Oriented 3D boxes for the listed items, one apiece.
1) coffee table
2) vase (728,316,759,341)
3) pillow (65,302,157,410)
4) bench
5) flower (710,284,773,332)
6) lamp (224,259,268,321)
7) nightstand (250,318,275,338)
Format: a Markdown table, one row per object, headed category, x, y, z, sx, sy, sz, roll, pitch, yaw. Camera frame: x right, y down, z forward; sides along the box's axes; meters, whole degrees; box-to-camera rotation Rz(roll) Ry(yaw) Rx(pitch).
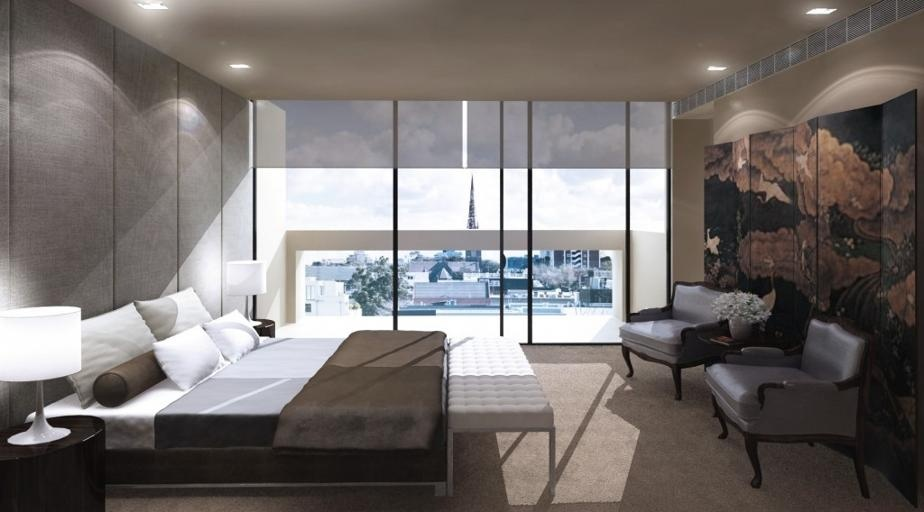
| category | x | y | z | sx | sy | sz | roll | pitch | yaw |
| --- | --- | --- | --- | --- | --- | --- | --- | --- | --- |
| coffee table | 3.172 | 1.241 | 6.696 | 0.856 | 0.641 | 0.627 | -2 | 3 | -6 |
| vase | 3.308 | 0.852 | 7.469 | 0.262 | 0.209 | 0.287 | 1 | -4 | -21 |
| pillow | -3.593 | 0.996 | 6.500 | 0.262 | 0.816 | 0.923 | -27 | 1 | 32 |
| bench | 0.410 | 1.670 | 6.838 | 1.125 | 1.231 | 1.353 | 0 | 3 | -2 |
| flower | 3.287 | 0.606 | 7.496 | 0.485 | 0.261 | 0.494 | 1 | -1 | -33 |
| lamp | -2.913 | 0.340 | 8.278 | 0.531 | 0.772 | 0.514 | -1 | 2 | 16 |
| nightstand | -2.604 | 0.853 | 8.287 | 0.231 | 0.193 | 0.419 | 1 | 1 | -4 |
